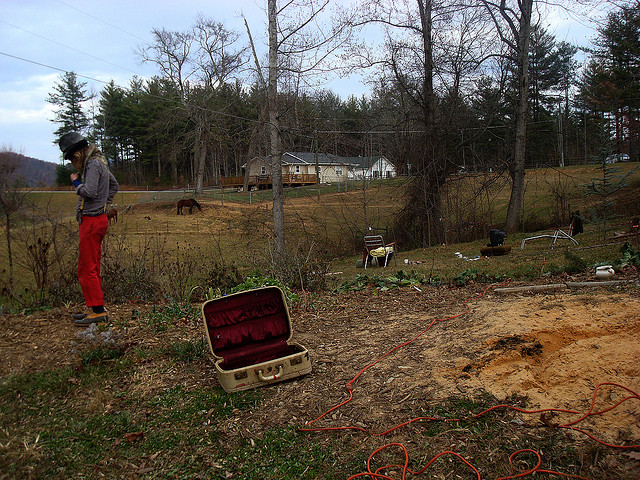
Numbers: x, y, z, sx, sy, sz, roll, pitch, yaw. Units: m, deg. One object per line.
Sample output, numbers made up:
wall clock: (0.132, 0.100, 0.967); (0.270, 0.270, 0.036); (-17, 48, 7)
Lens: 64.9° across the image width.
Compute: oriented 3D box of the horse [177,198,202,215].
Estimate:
horse: (-7.859, -2.046, 29.970); (1.112, 0.906, 1.828); (1, 13, 0)

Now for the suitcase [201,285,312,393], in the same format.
suitcase: (-0.756, 1.119, 5.902); (1.183, 1.077, 1.084); (-12, 3, -41)

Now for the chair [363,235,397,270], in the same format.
chair: (2.154, 0.440, 17.634); (1.087, 1.260, 1.109); (-12, -5, 35)
